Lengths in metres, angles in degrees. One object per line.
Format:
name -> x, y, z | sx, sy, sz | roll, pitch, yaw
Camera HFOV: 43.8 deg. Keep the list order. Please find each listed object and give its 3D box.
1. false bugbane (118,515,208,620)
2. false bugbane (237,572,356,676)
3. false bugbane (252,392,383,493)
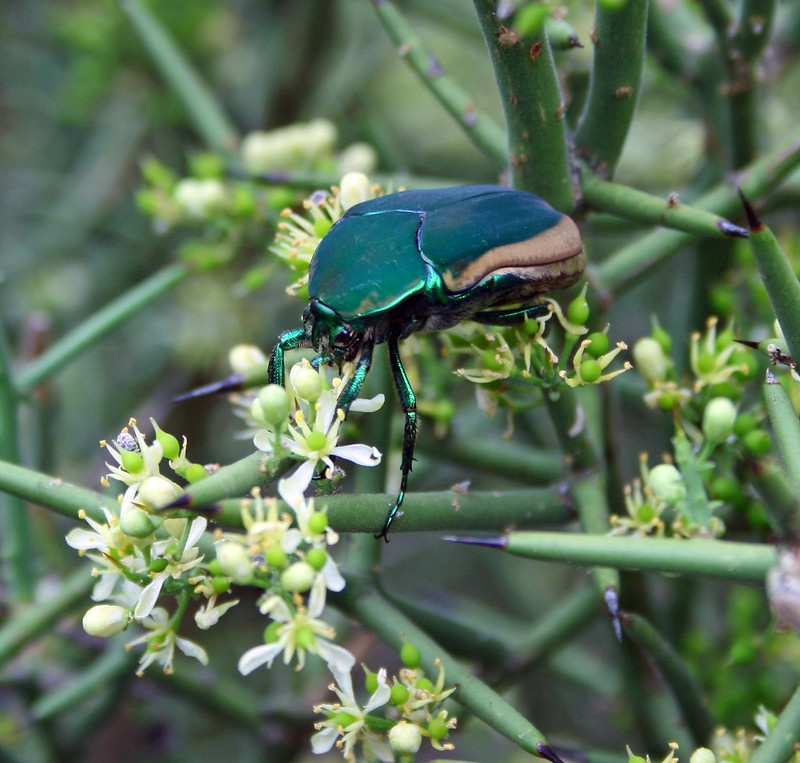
false bugbane -> -0.367, 0.295, 1.620 | 0.105, 0.040, 0.148 | 3, 10, -16
false bugbane -> -0.159, 0.400, 1.624 | 0.168, 0.184, 0.146 | -3, 24, -32
false bugbane -> -0.139, 0.101, 1.644 | 0.184, 0.179, 0.060 | -28, 2, -12
